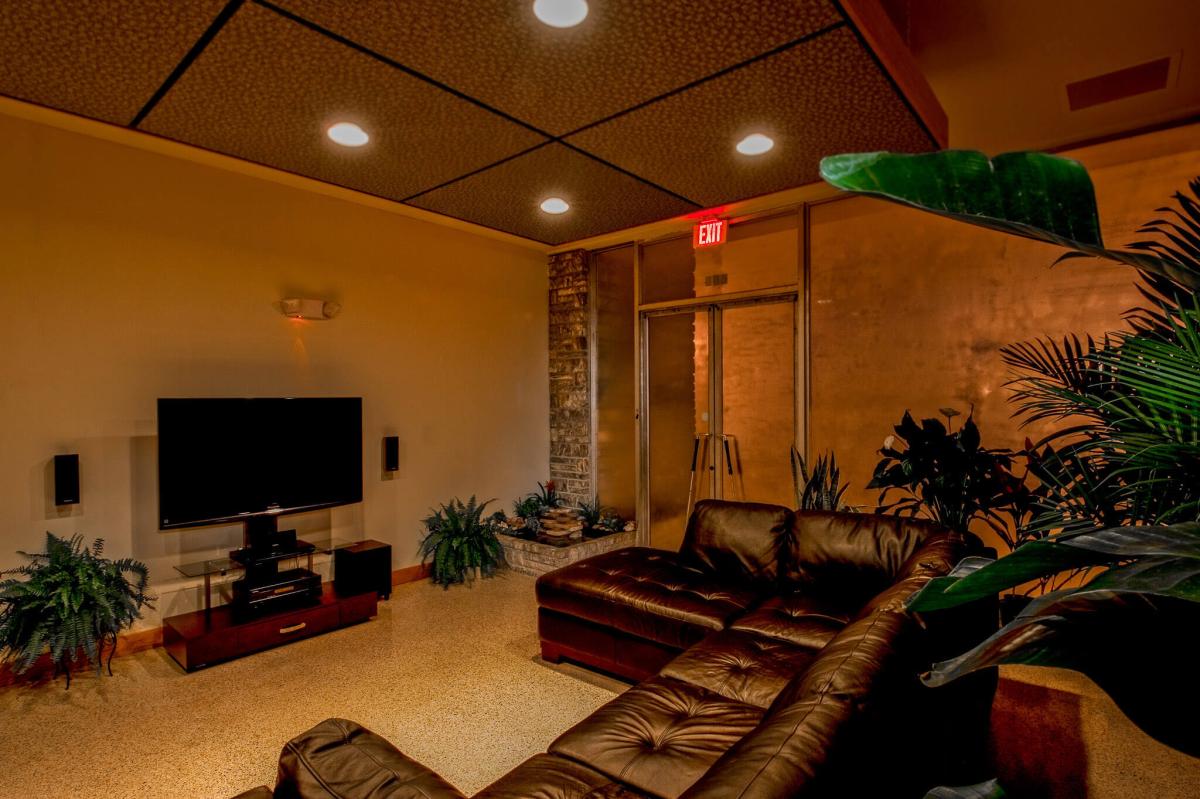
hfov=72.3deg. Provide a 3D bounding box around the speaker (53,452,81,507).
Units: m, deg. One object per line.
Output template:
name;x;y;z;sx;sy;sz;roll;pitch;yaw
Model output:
speaker;-3.402;0.515;5.235;0.158;0.334;0.146;-3;-4;-29

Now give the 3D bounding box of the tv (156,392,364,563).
tv;-2.399;0.611;5.850;1.376;1.009;0.260;-3;10;-41

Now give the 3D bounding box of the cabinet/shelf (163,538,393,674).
cabinet/shelf;-2.279;1.386;5.682;0.466;0.468;1.325;11;12;41

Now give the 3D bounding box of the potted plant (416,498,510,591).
potted plant;-1.118;1.194;6.868;0.779;0.476;0.722;1;1;21
